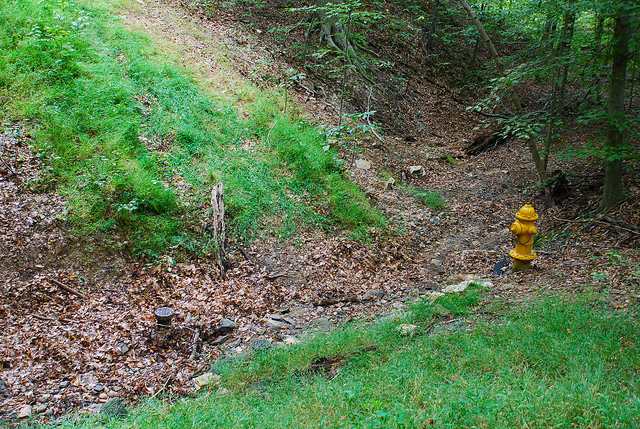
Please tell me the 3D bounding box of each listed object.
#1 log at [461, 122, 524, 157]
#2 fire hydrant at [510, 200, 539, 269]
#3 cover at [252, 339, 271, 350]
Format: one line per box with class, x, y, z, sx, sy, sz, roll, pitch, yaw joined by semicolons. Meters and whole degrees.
log;6.038;-2.820;20.277;2.742;0.536;0.749;-26;29;-24
fire hydrant;4.452;0.467;12.929;0.644;1.352;0.733;2;0;3
cover;-1.170;2.599;11.802;0.364;0.105;0.353;-11;28;3
